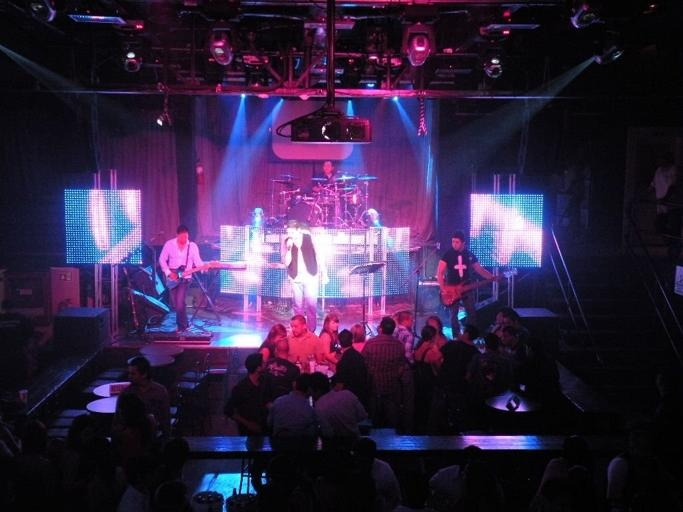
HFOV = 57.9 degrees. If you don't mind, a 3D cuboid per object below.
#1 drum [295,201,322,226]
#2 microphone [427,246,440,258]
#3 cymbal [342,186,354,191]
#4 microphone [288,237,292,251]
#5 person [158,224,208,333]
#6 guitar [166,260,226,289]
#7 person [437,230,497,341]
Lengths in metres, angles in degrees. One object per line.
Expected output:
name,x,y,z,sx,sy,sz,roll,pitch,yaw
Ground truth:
drum,-0.620,-0.957,12.835,0.629,0.624,0.599,8,1,-4
microphone,1.960,-0.087,13.104,0.260,0.301,0.108,5,-44,10
cymbal,0.158,-1.460,13.255,0.257,0.106,0.161,2,-4,-31
microphone,-0.865,-0.215,10.380,0.120,0.170,0.041,-1,-4,28
person,-2.796,0.281,10.792,0.707,1.957,0.591,-8,15,-41
guitar,-2.604,0.303,10.768,0.855,0.455,0.481,1,-4,-19
person,2.041,0.390,10.390,0.842,1.905,0.691,-3,10,-11
